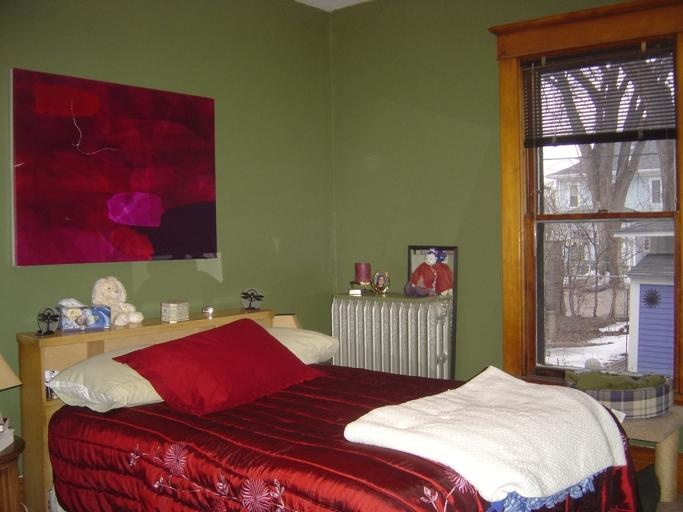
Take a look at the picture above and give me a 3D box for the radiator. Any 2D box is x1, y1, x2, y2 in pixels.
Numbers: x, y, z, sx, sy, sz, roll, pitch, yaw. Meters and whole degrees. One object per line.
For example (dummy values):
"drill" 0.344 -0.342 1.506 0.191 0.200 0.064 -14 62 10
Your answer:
"radiator" 0.412 0.617 4.127 0.576 0.574 0.235 3 6 28

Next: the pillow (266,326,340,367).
"pillow" -0.208 0.559 3.456 0.288 0.092 0.280 8 1 43

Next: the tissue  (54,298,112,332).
"tissue " -1.525 0.305 3.224 0.258 0.141 0.188 2 -1 -43

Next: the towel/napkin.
"towel/napkin" 0.605 0.750 2.313 0.595 0.185 0.593 -3 -3 -38

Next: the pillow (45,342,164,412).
"pillow" -1.278 0.667 2.941 0.472 0.137 0.459 11 8 21

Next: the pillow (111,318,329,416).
"pillow" -0.623 0.576 2.886 0.506 0.132 0.589 31 26 35
